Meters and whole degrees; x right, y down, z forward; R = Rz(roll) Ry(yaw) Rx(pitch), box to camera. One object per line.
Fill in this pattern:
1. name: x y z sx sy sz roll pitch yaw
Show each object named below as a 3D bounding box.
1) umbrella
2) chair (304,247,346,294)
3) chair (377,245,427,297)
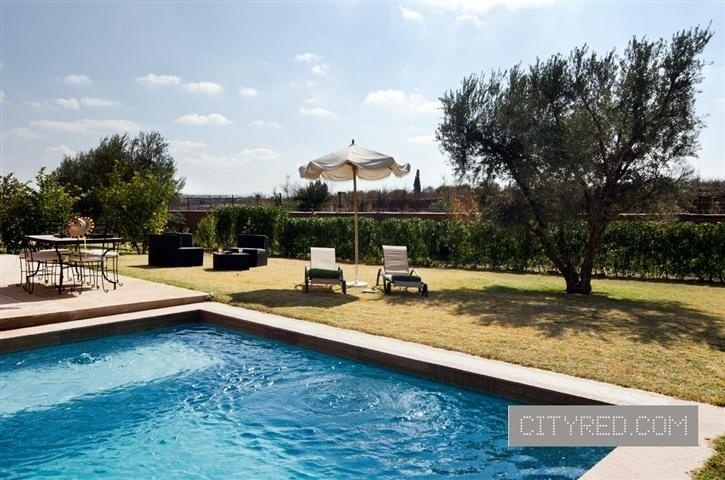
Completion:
1. umbrella: -0.285 -0.784 15.996 3.306 4.474 3.489 -2 -4 5
2. chair: -1.227 0.931 15.768 1.175 1.345 1.963 0 2 -7
3. chair: 1.153 0.894 15.611 1.154 1.482 2.312 2 1 -9
